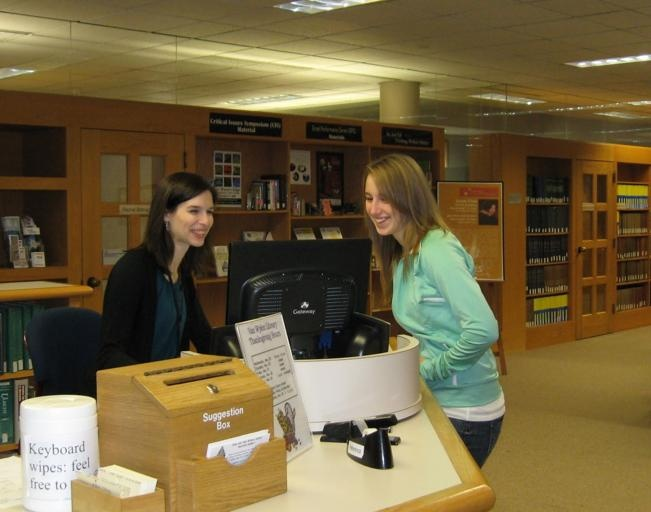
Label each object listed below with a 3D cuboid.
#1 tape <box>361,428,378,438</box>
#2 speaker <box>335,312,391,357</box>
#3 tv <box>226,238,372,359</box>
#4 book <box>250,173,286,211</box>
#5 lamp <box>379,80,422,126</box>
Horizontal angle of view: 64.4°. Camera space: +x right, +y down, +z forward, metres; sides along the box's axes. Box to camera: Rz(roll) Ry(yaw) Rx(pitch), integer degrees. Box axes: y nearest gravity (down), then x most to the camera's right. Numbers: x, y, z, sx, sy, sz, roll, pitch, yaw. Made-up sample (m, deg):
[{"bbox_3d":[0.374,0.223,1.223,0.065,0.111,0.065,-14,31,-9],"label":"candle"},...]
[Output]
[{"bbox_3d":[0.110,0.438,1.295,0.032,0.014,0.025,-4,-1,24],"label":"tape"},{"bbox_3d":[0.140,0.260,1.869,0.148,0.173,0.168,7,-5,-29],"label":"speaker"},{"bbox_3d":[-0.095,0.145,1.706,0.375,0.341,0.127,-1,10,-18],"label":"tv"},{"bbox_3d":[-0.730,-0.883,6.479,0.507,0.537,0.385,4,11,20],"label":"book"},{"bbox_3d":[1.329,-2.760,9.192,0.722,0.755,0.536,1,2,5],"label":"lamp"}]
